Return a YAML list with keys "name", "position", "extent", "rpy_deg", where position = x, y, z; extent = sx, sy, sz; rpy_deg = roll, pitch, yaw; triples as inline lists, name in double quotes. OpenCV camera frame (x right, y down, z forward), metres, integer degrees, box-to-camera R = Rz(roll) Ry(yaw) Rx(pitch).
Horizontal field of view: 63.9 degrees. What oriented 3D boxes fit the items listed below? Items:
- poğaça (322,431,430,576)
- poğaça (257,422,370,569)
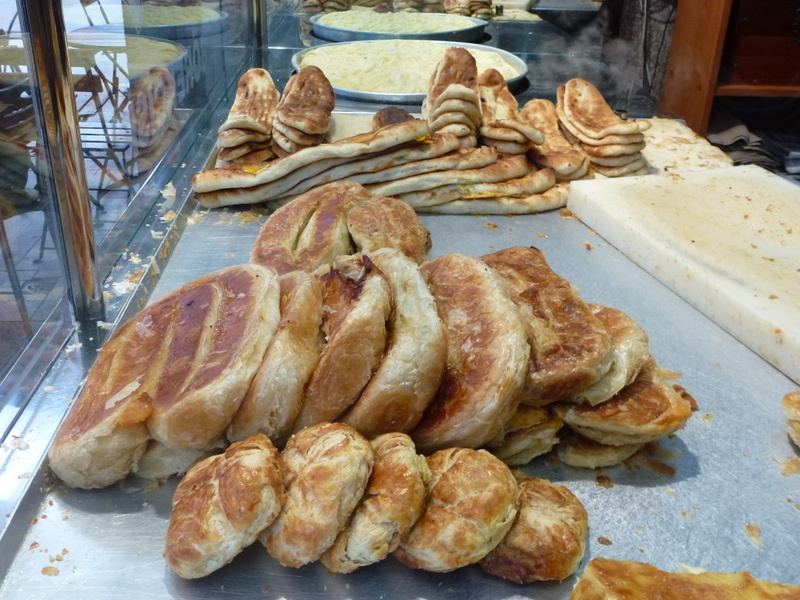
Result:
- name: "poğaça"
  position: [-0.008, 0.381, 1.248]
  extent: [0.076, 0.200, 0.253]
  rpy_deg: [37, 48, -17]
- name: "poğaça"
  position: [-0.132, 0.395, 1.252]
  extent: [0.082, 0.269, 0.205]
  rpy_deg: [28, 0, -45]
